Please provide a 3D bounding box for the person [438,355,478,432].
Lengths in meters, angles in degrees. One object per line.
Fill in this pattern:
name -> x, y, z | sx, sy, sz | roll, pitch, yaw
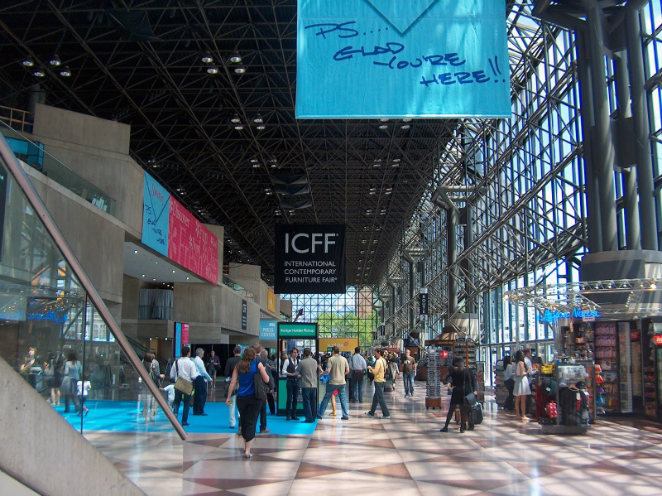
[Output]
person -> 2.753, 3.136, 11.930 | 0.698, 1.549, 1.399 | -3, -12, 10

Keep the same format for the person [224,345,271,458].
person -> -1.358, 2.475, 8.965 | 0.619, 1.697, 1.300 | 1, -11, -11

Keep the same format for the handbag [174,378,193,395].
handbag -> -3.120, 2.918, 11.581 | 0.316, 0.243, 0.130 | 16, -18, 1

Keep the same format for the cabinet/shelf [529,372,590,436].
cabinet/shelf -> 4.934, 3.643, 11.896 | 1.255, 1.290, 1.240 | -17, -59, 27

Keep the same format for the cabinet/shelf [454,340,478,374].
cabinet/shelf -> 4.187, 3.429, 17.080 | 0.615, 0.527, 0.910 | 9, 26, 11

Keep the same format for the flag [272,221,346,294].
flag -> -0.729, 0.362, 19.181 | 3.300, 3.504, 0.367 | 1, -19, -1

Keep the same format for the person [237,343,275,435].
person -> -1.394, 2.926, 10.975 | 0.574, 2.258, 0.688 | 2, 24, -8

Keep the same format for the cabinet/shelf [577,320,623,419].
cabinet/shelf -> 6.934, 3.032, 14.076 | 0.398, 2.305, 1.305 | 1, -11, -12

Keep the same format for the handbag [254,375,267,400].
handbag -> -1.094, 2.144, 8.507 | 0.121, 0.313, 0.298 | -11, -23, 13

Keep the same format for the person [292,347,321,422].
person -> -0.520, 3.129, 12.520 | 0.477, 1.654, 0.942 | -1, -11, -2

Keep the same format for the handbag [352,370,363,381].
handbag -> 0.811, 3.826, 16.652 | 0.302, 0.271, 0.453 | 7, -28, 4

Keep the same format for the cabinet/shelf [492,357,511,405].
cabinet/shelf -> 5.114, 4.223, 17.072 | 0.791, 1.311, 0.898 | 0, -12, 8
